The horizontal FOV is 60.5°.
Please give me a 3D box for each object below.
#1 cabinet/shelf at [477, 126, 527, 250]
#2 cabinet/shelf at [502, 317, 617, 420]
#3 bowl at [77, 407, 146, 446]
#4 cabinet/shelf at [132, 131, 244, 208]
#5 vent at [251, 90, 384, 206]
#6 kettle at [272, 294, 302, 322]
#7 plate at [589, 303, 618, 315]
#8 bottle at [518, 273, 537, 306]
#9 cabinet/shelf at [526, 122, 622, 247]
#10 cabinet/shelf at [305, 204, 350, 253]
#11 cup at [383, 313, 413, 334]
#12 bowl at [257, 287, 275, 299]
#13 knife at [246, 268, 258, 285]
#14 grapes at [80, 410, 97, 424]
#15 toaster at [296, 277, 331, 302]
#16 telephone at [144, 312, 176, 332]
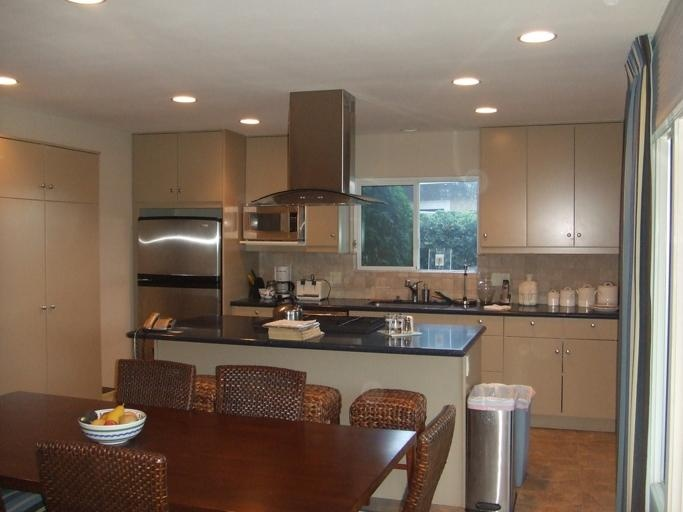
[{"bbox_3d":[1.615,-0.679,5.855,0.437,1.199,0.115,0,0,5],"label":"cabinet/shelf"},{"bbox_3d":[2.045,1.021,5.355,0.973,0.851,0.378,0,-2,15],"label":"cabinet/shelf"},{"bbox_3d":[-1.075,0.803,2.755,0.306,0.108,0.308,3,1,0],"label":"bowl"},{"bbox_3d":[-1.687,-0.929,6.630,1.169,0.816,0.678,1,-1,19],"label":"cabinet/shelf"},{"bbox_3d":[-0.158,-0.831,4.429,0.736,0.855,0.408,0,0,3],"label":"vent"},{"bbox_3d":[-0.430,0.405,4.567,0.196,0.218,0.261,0,-2,3],"label":"kettle"},{"bbox_3d":[2.496,0.506,5.564,0.228,0.082,0.346,0,-1,24],"label":"plate"},{"bbox_3d":[1.923,0.344,6.046,0.191,0.316,0.283,0,0,17],"label":"bottle"},{"bbox_3d":[2.356,-0.638,5.976,0.926,1.276,0.651,1,-12,18],"label":"cabinet/shelf"},{"bbox_3d":[-0.200,-0.262,6.471,0.501,0.492,0.363,1,-7,-9],"label":"cabinet/shelf"},{"bbox_3d":[0.433,0.494,4.269,0.213,0.146,0.171,0,0,-7],"label":"cup"},{"bbox_3d":[-0.854,0.417,6.629,0.207,0.112,0.118,0,0,17],"label":"bowl"},{"bbox_3d":[-1.020,0.243,6.751,0.044,0.151,0.112,-4,-8,18],"label":"knife"},{"bbox_3d":[-1.185,0.757,2.758,0.079,0.041,0.092,3,-7,-29],"label":"grapes"},{"bbox_3d":[-0.319,0.372,6.604,0.273,0.212,0.282,0,-2,17],"label":"toaster"},{"bbox_3d":[-1.387,0.517,4.592,0.216,0.076,0.216,2,4,1],"label":"telephone"}]
